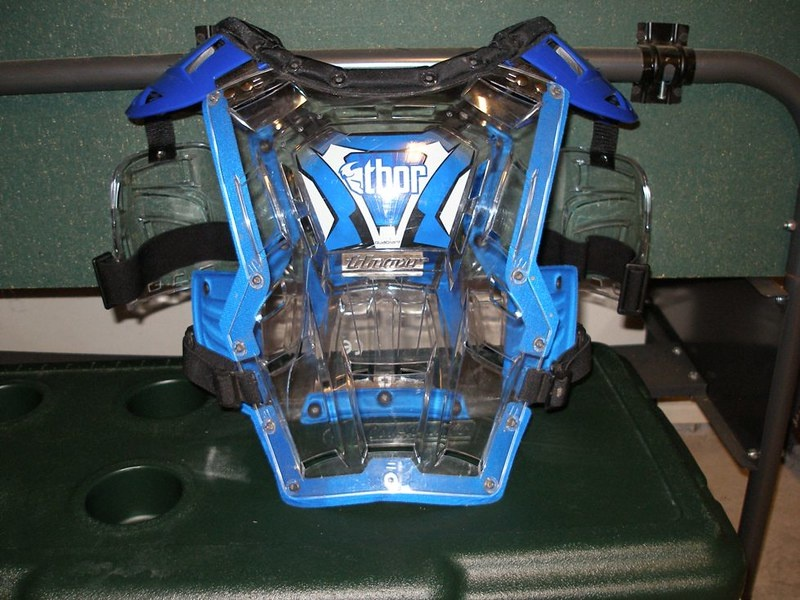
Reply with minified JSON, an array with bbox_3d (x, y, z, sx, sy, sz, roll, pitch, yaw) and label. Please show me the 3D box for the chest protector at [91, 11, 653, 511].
[{"bbox_3d":[-0.044,-0.073,1.317,0.892,0.875,0.410,2,21,10],"label":"chest protector"}]
